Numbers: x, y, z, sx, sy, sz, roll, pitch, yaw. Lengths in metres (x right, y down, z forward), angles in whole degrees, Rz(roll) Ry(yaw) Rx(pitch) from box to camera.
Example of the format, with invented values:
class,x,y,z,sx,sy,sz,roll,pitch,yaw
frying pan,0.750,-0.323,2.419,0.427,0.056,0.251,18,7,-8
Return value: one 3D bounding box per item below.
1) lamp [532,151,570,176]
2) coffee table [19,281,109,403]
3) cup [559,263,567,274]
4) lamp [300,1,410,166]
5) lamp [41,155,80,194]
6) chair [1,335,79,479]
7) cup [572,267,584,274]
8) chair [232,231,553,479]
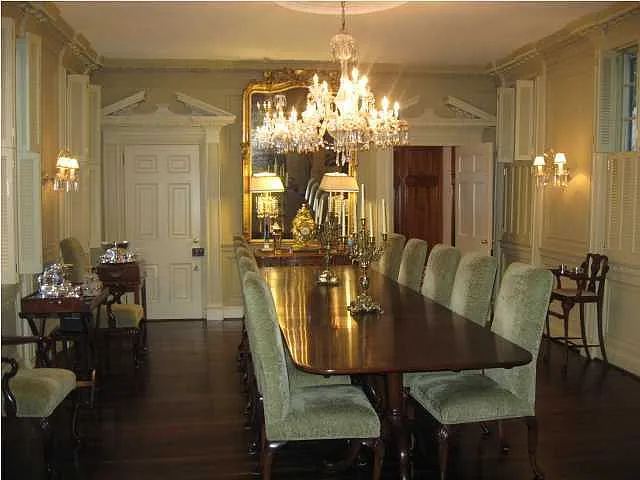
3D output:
class,x,y,z,sx,sy,sz,roll,pitch,yaw
lamp,2.730,-0.891,6.443,0.100,0.355,0.340,1,-1,-18
coffee table,-2.259,0.887,4.827,0.359,0.671,0.979,0,-3,-6
cup,2.585,0.306,5.872,0.101,0.108,0.064,2,-3,-7
lamp,0.363,-1.646,6.325,1.252,1.483,3.344,1,8,6
lamp,-2.787,-0.716,6.066,0.349,0.581,0.405,0,6,-5
chair,-2.034,1.111,3.992,0.463,0.870,1.081,-4,9,-25
cup,2.707,0.322,5.737,0.080,0.066,0.063,2,-3,-2
chair,0.422,0.773,3.808,2.062,1.344,2.011,5,9,31
